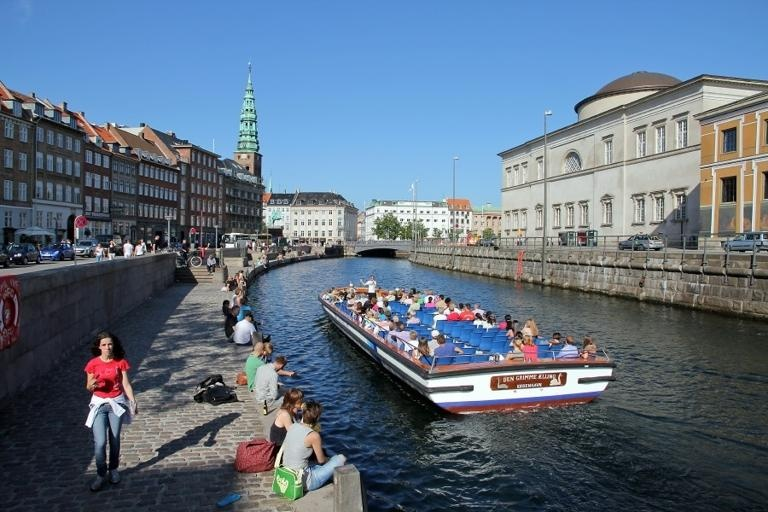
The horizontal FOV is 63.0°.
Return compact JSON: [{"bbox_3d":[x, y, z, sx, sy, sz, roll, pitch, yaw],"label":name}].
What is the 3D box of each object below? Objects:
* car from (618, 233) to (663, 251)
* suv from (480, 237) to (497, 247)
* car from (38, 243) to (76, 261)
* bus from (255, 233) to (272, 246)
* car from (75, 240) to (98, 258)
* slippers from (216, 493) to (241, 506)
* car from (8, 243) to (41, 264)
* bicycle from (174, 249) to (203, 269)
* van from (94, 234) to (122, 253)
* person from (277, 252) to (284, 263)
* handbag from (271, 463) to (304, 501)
[{"bbox_3d":[18.838,-0.979,46.024,1.261,1.024,2.946,-2,6,-17],"label":"car"},{"bbox_3d":[13.249,-1.553,80.095,1.544,1.078,3.390,-1,7,-7],"label":"suv"},{"bbox_3d":[-22.238,-0.257,42.412,1.167,0.935,2.152,-1,-5,0],"label":"car"},{"bbox_3d":[-23.811,-3.235,121.486,3.217,2.208,1.748,2,-5,-23],"label":"bus"},{"bbox_3d":[-21.686,-0.502,45.220,1.262,1.093,2.557,0,-1,-12],"label":"car"},{"bbox_3d":[-3.684,5.737,14.729,0.384,0.094,0.232,-6,11,-37],"label":"slippers"},{"bbox_3d":[-21.947,-0.154,37.689,1.071,0.790,1.663,-1,-4,-2],"label":"car"},{"bbox_3d":[-15.807,0.321,49.993,2.717,1.589,1.301,1,2,-12],"label":"bicycle"},{"bbox_3d":[-22.137,-0.965,49.782,1.751,1.416,2.420,0,-2,-2],"label":"van"},{"bbox_3d":[-14.483,0.221,86.457,0.902,1.195,2.091,6,14,20],"label":"person"},{"bbox_3d":[-2.314,5.393,14.806,0.757,0.700,0.454,-1,15,-3],"label":"handbag"}]
